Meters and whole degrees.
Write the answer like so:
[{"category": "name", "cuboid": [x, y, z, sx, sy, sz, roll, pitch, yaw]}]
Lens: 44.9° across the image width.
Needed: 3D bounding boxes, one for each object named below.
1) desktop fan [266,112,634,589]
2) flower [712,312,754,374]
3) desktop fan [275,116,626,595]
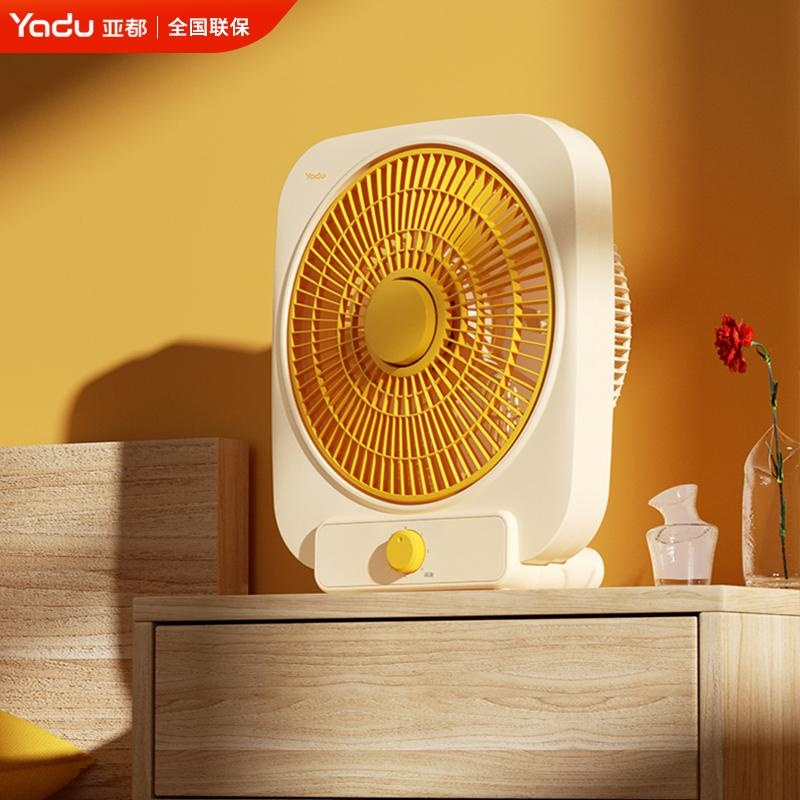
[{"category": "desktop fan", "cuboid": [0.073, -0.010, 1.092, 0.367, 0.478, 0.296, -6, -16, 27]}, {"category": "flower", "cuboid": [0.379, -0.061, 1.070, 0.062, 0.052, 0.054, 4, 2, 21]}, {"category": "desktop fan", "cuboid": [0.034, -0.051, 1.013, 0.363, 0.504, 0.212, -1, -4, 0]}]
